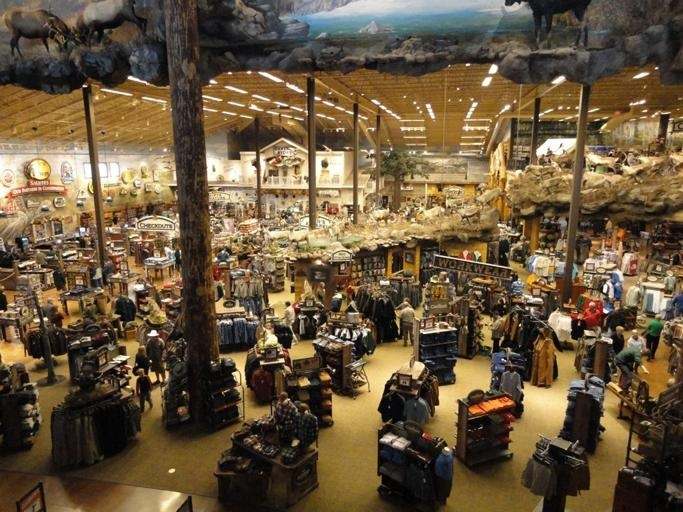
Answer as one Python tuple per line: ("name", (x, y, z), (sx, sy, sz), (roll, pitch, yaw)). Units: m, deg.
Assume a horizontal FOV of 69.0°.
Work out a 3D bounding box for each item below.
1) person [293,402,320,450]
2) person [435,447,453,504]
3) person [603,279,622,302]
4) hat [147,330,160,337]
("person", (-0.653, 3.076, 9.077), (0.397, 0.812, 0.280), (-4, 6, -7))
("person", (1.820, 3.851, 8.681), (0.290, 1.121, 0.396), (1, 8, 32))
("person", (8.387, 1.036, 15.726), (0.729, 0.704, 0.645), (0, 1, -28))
("hat", (-4.597, 1.898, 12.139), (0.193, 0.065, 0.197), (1, 4, 12))
